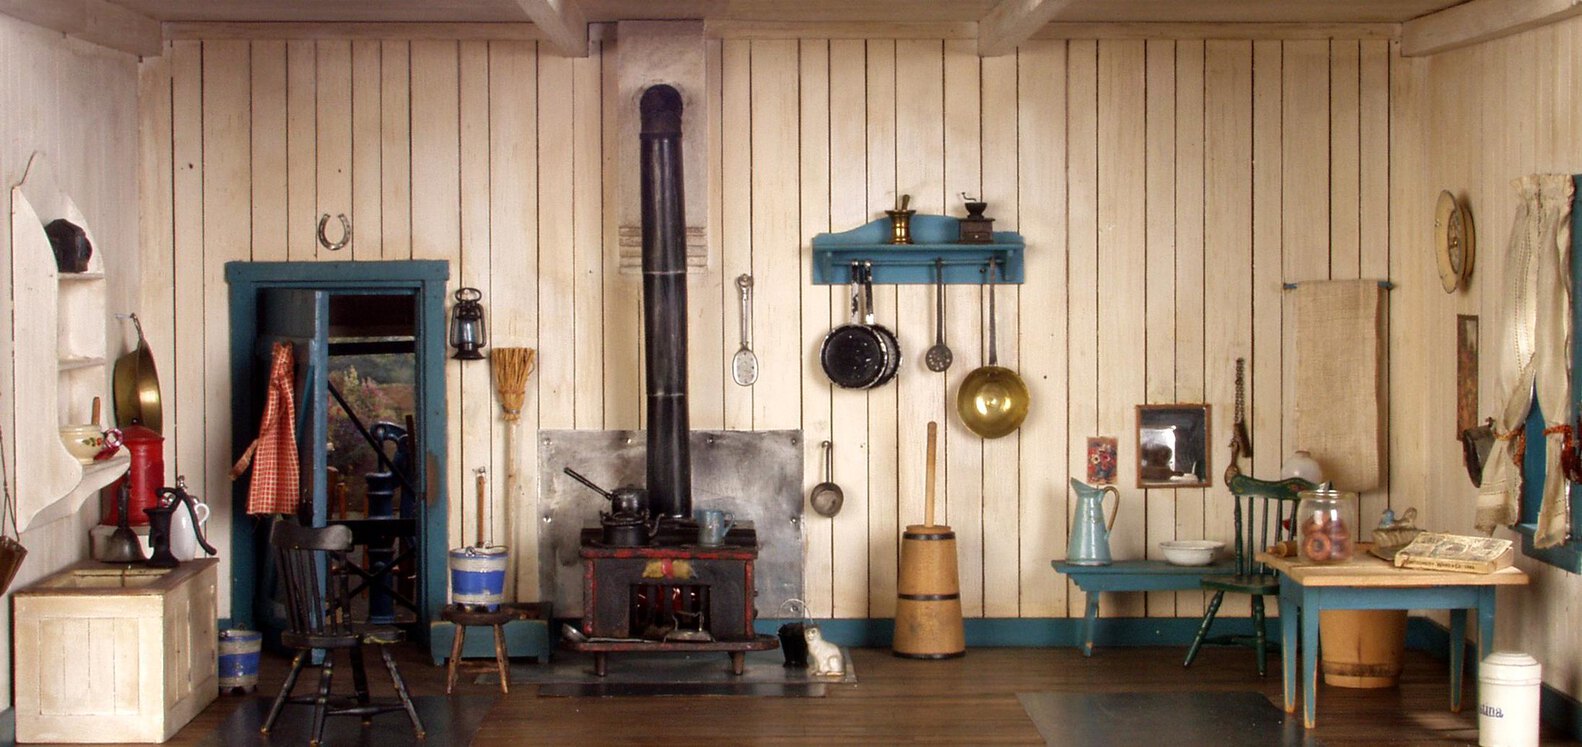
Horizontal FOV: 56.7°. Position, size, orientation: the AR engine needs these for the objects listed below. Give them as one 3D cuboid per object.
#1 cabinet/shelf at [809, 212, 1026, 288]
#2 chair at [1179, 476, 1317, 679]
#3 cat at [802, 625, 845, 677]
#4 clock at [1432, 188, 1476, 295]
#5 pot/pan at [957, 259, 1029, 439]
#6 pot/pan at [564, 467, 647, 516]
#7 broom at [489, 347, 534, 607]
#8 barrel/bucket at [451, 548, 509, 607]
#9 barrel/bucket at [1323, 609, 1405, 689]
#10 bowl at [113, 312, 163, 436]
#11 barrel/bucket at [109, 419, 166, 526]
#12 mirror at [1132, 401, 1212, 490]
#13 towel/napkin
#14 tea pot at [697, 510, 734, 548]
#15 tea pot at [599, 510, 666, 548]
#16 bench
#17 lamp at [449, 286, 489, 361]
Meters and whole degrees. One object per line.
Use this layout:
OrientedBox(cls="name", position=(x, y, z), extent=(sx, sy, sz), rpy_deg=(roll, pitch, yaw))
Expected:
OrientedBox(cls="cabinet/shelf", position=(0.997, -0.988, 11.580), extent=(1.706, 0.522, 0.220), rpy_deg=(-1, 0, 1))
OrientedBox(cls="chair", position=(3.574, 1.485, 11.576), extent=(1.065, 1.753, 0.655), rpy_deg=(2, 0, -8))
OrientedBox(cls="cat", position=(0.261, 2.115, 11.281), extent=(0.361, 0.316, 0.271), rpy_deg=(7, -7, -29))
OrientedBox(cls="clock", position=(5.073, -1.011, 11.219), extent=(0.103, 0.812, 0.337), rpy_deg=(-2, 0, -11))
OrientedBox(cls="pot/pan", position=(1.569, -0.189, 11.665), extent=(0.504, 1.396, 0.274), rpy_deg=(-1, -3, -9))
OrientedBox(cls="pot/pan", position=(-1.511, 0.928, 11.416), extent=(0.764, 0.340, 0.271), rpy_deg=(1, -4, -8))
OrientedBox(cls="broom", position=(-2.212, 0.777, 11.655), extent=(0.335, 1.960, 0.250), rpy_deg=(1, -2, -4))
OrientedBox(cls="barrel/bucket", position=(-2.357, 1.543, 11.235), extent=(0.483, 0.375, 0.468), rpy_deg=(1, -6, 0))
OrientedBox(cls="barrel/bucket", position=(4.334, 2.067, 11.256), extent=(0.828, 0.599, 0.798), rpy_deg=(1, -10, 0))
OrientedBox(cls="bowl", position=(-4.955, 0.001, 11.414), extent=(0.283, 0.762, 0.559), rpy_deg=(-4, -13, 8))
OrientedBox(cls="barrel/bucket", position=(-5.060, 0.768, 11.212), extent=(0.520, 0.712, 0.534), rpy_deg=(1, 3, 0))
OrientedBox(cls="mirror", position=(3.041, 0.562, 11.702), extent=(0.555, 0.651, 0.048), rpy_deg=(-1, 0, 2))
OrientedBox(cls="towel/napkin", position=(4.303, 0.084, 11.634), extent=(0.724, 1.713, 0.148), rpy_deg=(-1, 0, -4))
OrientedBox(cls="tea pot", position=(-0.598, 1.164, 11.272), extent=(0.247, 0.248, 0.310), rpy_deg=(-1, 0, -2))
OrientedBox(cls="tea pot", position=(-1.197, 1.195, 11.179), extent=(0.418, 0.157, 0.261), rpy_deg=(4, -5, -42))
OrientedBox(cls="bench", position=(2.724, 1.818, 11.675), extent=(1.940, 0.582, 0.550), rpy_deg=(-1, 1, 11))
OrientedBox(cls="lamp", position=(-2.564, -0.402, 11.634), extent=(0.282, 0.486, 0.114), rpy_deg=(-1, 0, -10))
